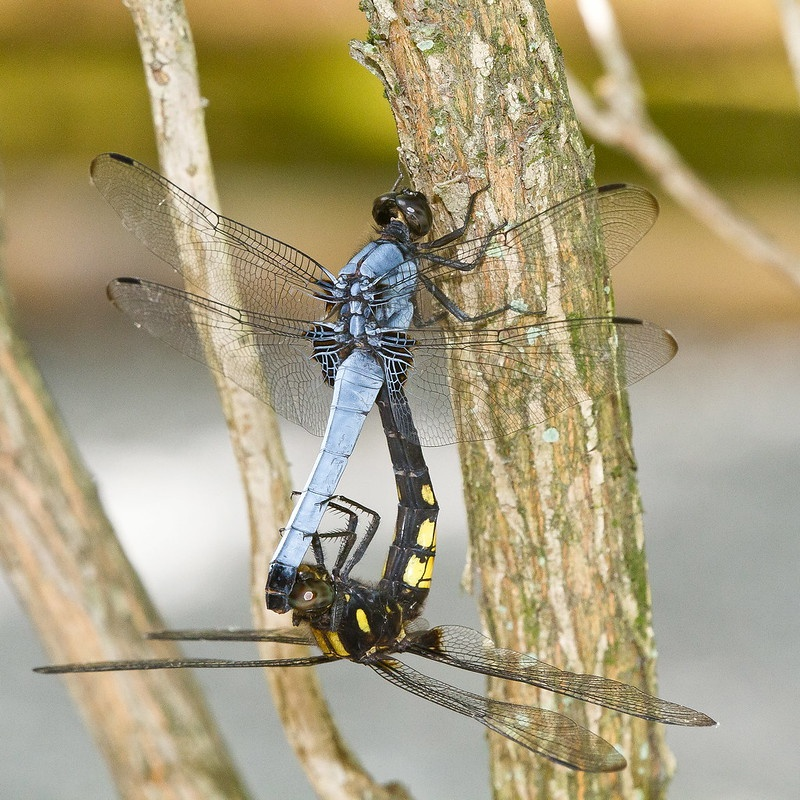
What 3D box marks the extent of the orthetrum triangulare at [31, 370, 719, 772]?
[{"bbox_3d":[-0.062,0.308,1.835,0.214,0.316,0.725,-48,-50,7],"label":"orthetrum triangulare"}]
